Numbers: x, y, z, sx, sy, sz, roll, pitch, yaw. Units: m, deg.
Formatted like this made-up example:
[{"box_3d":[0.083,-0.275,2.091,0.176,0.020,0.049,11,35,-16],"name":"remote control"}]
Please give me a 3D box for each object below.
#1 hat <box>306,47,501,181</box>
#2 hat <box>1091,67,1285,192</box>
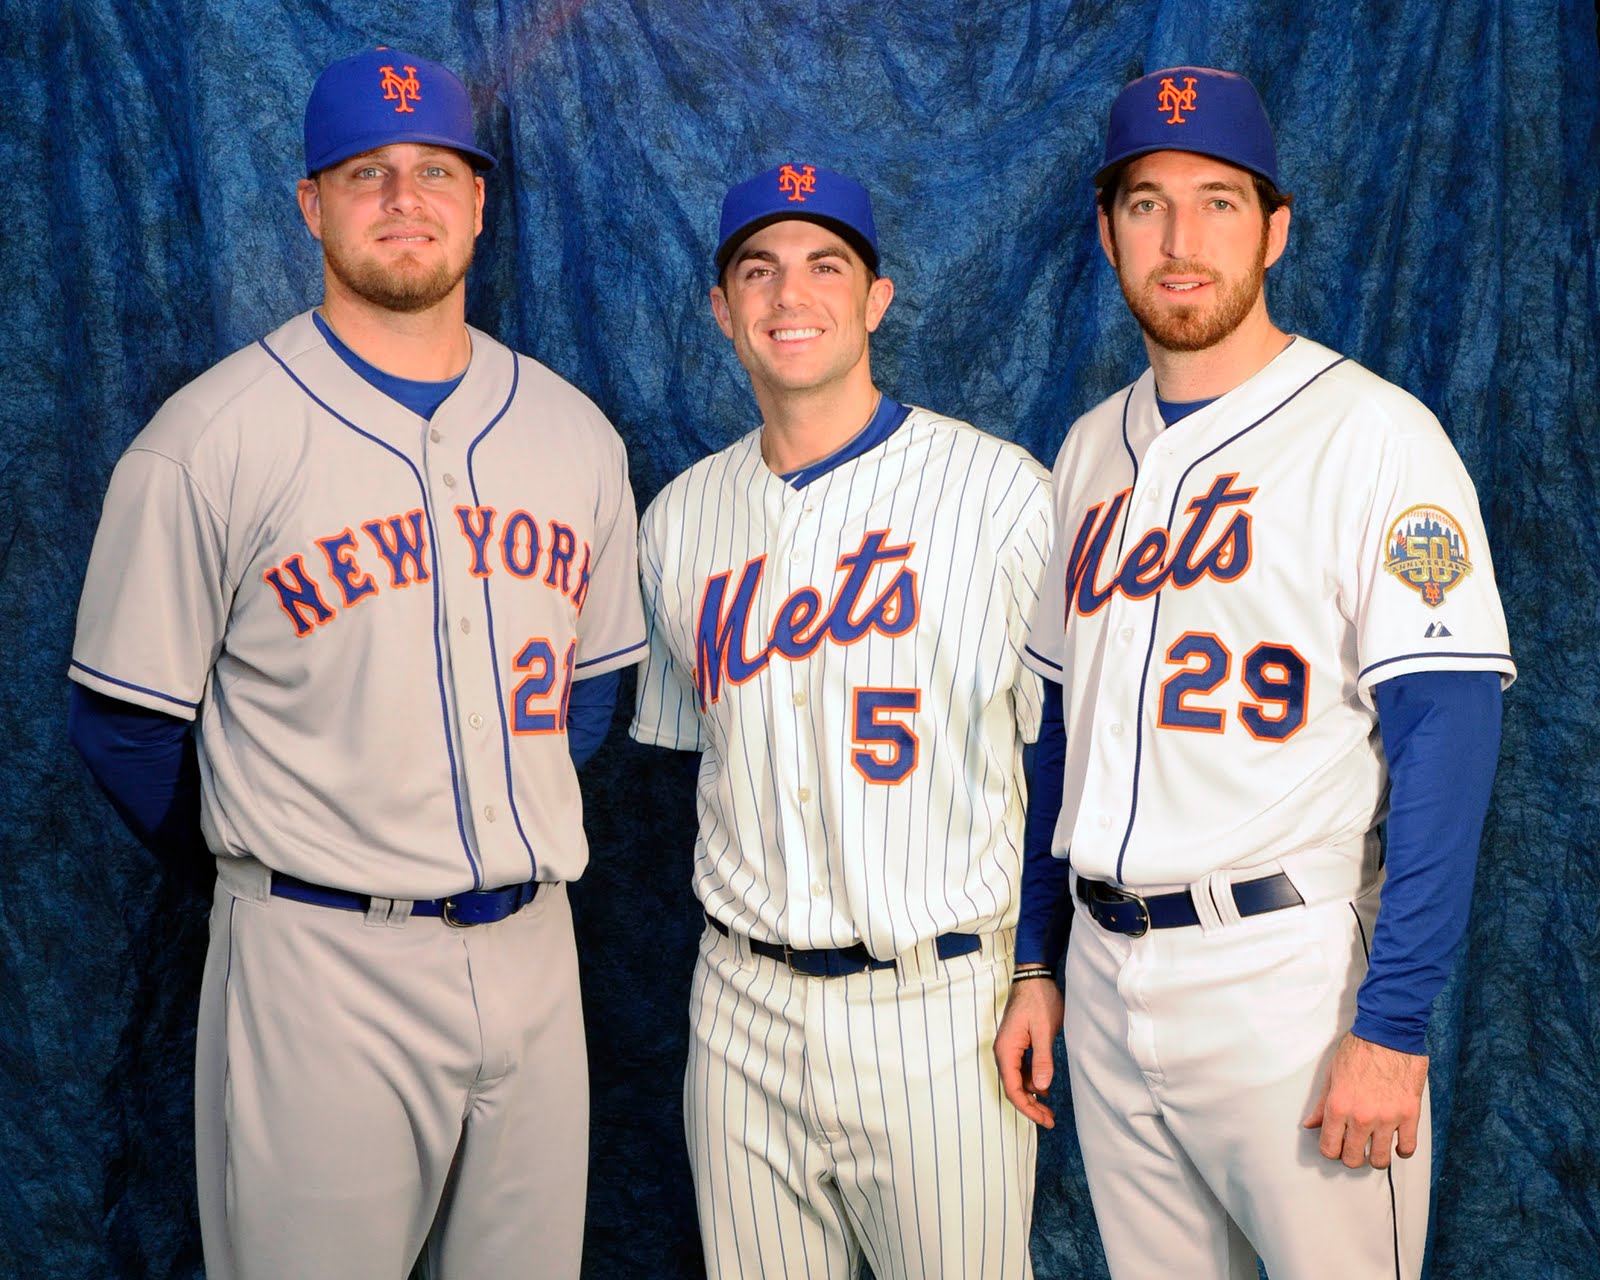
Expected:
[{"box_3d":[-0.874,-1.143,4.208,0.258,0.191,0.295,-13,31,-31],"name":"hat"},{"box_3d":[0.825,-1.071,4.158,0.402,0.249,0.440,14,29,27],"name":"hat"}]
